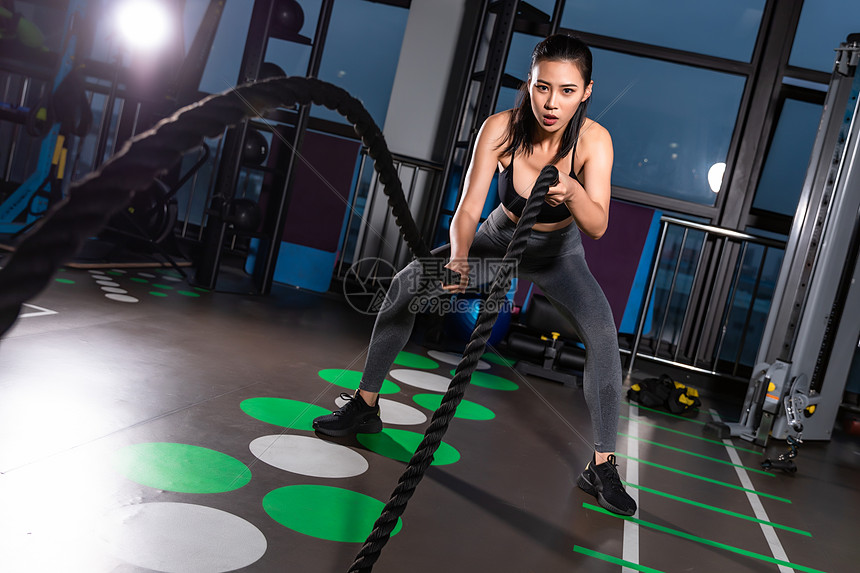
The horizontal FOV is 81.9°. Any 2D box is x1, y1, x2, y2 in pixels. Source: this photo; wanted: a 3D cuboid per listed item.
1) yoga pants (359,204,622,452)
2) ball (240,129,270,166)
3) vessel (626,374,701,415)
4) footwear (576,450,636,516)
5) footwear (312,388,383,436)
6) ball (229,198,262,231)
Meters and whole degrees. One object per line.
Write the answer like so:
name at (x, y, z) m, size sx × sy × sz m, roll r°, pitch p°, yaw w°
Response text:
yoga pants at (0.337, 0.256, 2.388) m, size 1.333 × 1.040 × 0.706 m, roll 5°, pitch -1°, yaw 26°
ball at (-1.439, -1.134, 4.063) m, size 0.258 × 0.262 × 0.292 m, roll 8°, pitch 22°, yaw -24°
vessel at (1.662, 0.761, 3.448) m, size 0.372 × 0.131 × 0.302 m, roll 5°, pitch 3°, yaw -45°
footwear at (0.692, 0.752, 1.911) m, size 0.106 × 0.175 × 0.268 m, roll 16°, pitch 4°, yaw -24°
footwear at (-0.311, 0.528, 2.057) m, size 0.331 × 0.210 × 0.122 m, roll 7°, pitch -3°, yaw -24°
ball at (-1.555, -0.582, 4.014) m, size 0.196 × 0.255 × 0.254 m, roll 16°, pitch 26°, yaw 15°
